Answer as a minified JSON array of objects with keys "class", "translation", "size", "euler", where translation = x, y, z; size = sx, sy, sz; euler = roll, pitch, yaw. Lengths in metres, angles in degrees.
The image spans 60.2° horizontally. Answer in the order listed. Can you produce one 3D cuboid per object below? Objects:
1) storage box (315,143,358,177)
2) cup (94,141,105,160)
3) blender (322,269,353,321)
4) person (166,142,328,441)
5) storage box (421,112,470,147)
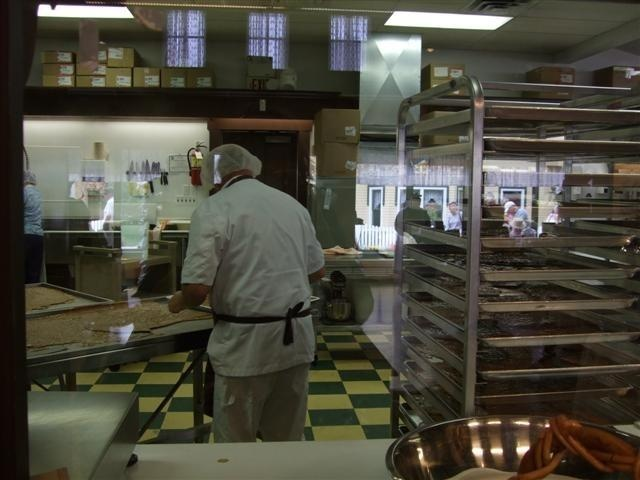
[{"class":"storage box","translation":[0.132,-0.619,4.171],"size":[0.279,0.260,0.166],"euler":[3,7,4]},{"class":"cup","translation":[-2.536,-1.036,6.347],"size":[0.123,0.194,0.081],"euler":[-4,7,-27]},{"class":"blender","translation":[0.143,0.437,4.455],"size":[0.279,0.383,0.397],"euler":[-8,4,-6]},{"class":"person","translation":[-0.301,0.348,2.476],"size":[0.700,1.233,0.259],"euler":[-2,7,-16]},{"class":"storage box","translation":[0.589,-0.537,2.650],"size":[0.211,0.139,0.199],"euler":[-1,4,-8]}]
